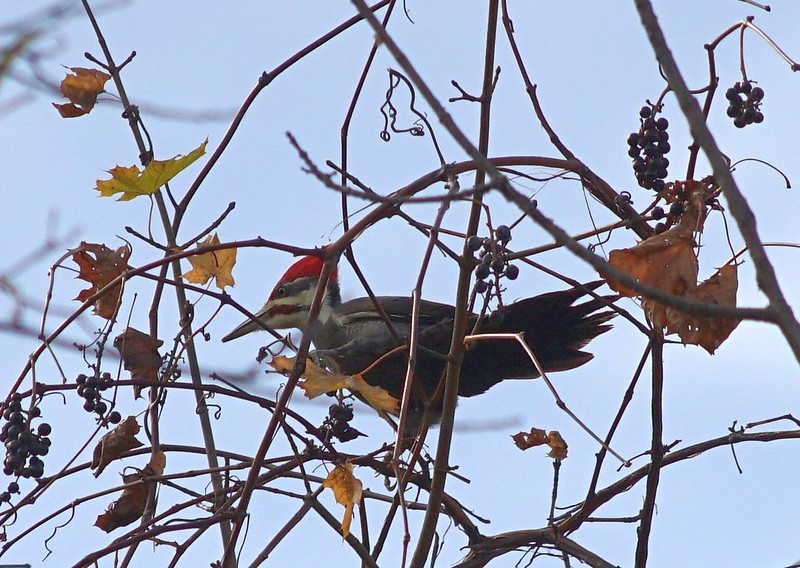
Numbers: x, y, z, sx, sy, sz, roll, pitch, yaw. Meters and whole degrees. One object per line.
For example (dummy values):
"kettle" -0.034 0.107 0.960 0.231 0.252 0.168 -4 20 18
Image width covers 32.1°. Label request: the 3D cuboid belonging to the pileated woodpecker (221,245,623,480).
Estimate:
"pileated woodpecker" 0.068 0.232 4.209 0.695 0.468 0.216 -30 -50 15
